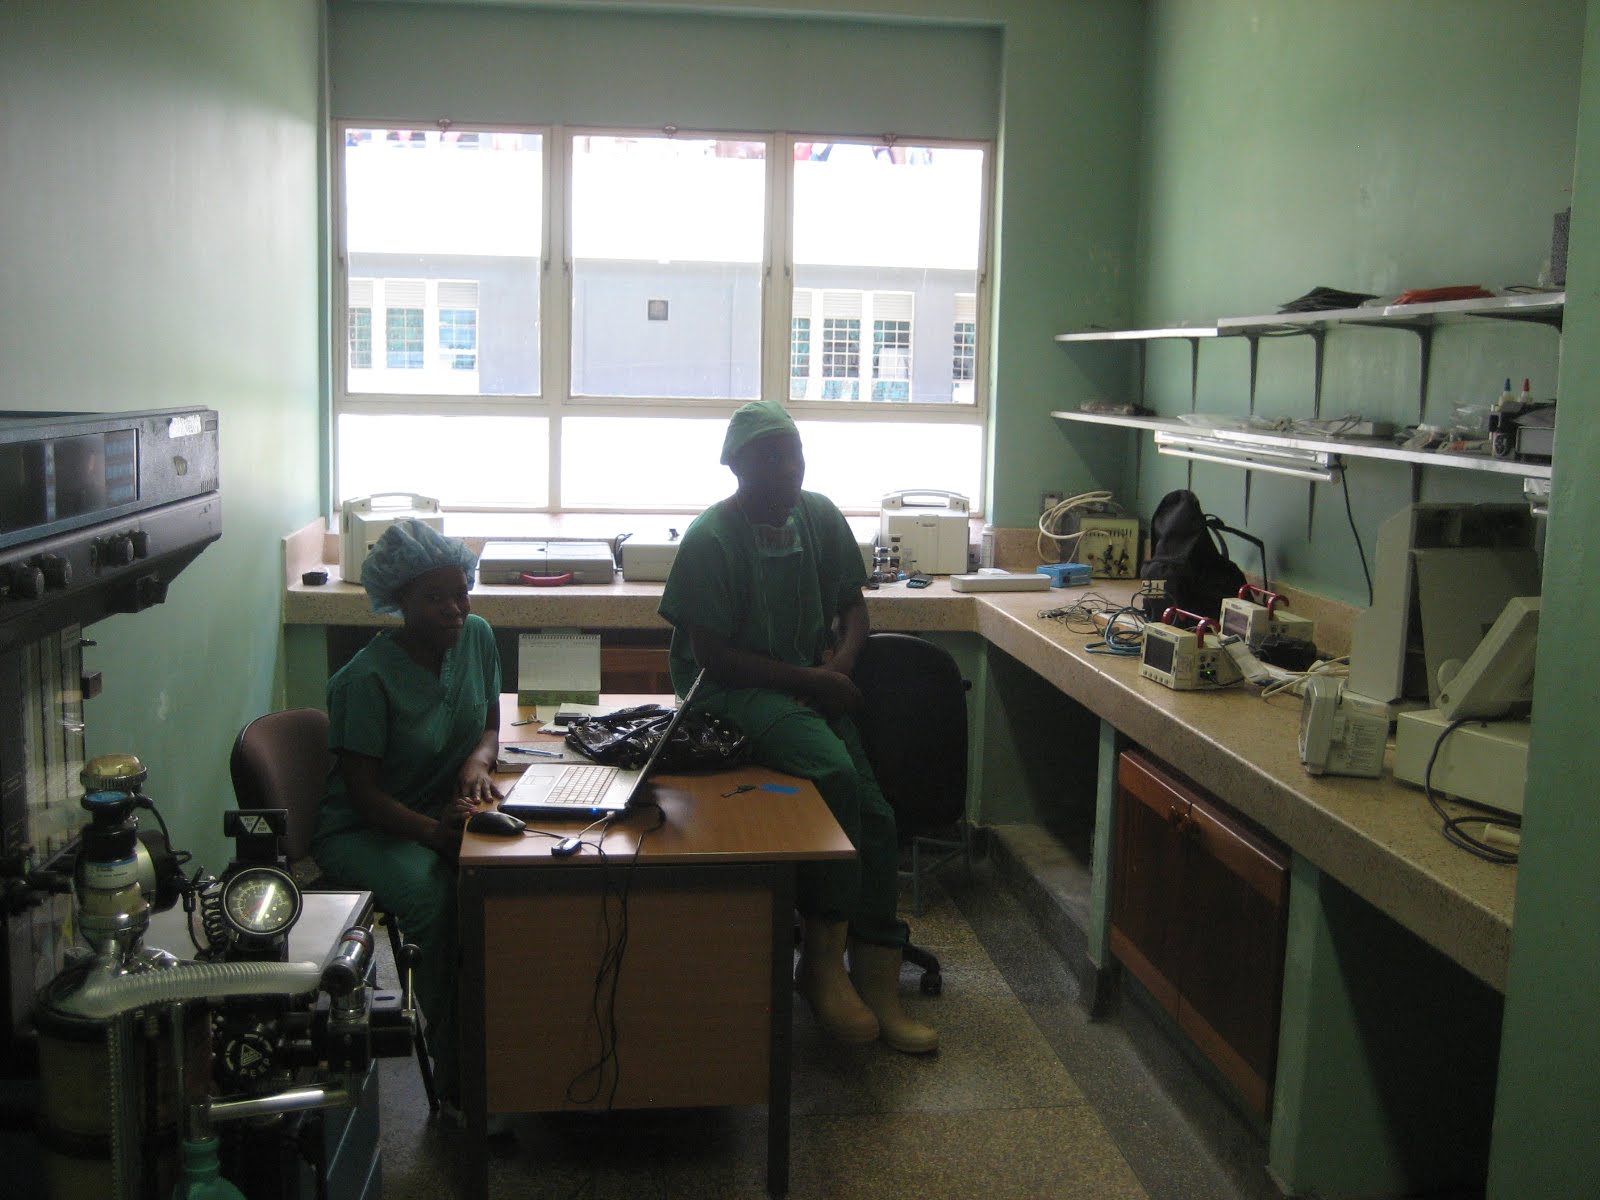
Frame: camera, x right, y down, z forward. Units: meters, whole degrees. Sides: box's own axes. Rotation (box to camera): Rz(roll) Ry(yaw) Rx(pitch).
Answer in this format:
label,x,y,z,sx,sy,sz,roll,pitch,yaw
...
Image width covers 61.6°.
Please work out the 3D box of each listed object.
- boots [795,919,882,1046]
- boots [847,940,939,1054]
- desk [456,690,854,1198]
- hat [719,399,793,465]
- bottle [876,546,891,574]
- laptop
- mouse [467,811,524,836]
label,x,y,z,sx,sy,sz,roll,pitch,yaw
boots,0.108,0.988,3.528,0.314,0.260,0.123,11,3,43
boots,0.265,1.086,3.660,0.331,0.281,0.129,0,-8,43
desk,-0.381,0.593,3.133,0.689,0.666,1.312,-1,9,-7
hat,-0.145,-0.477,3.778,0.191,0.107,0.147,-25,-2,29
bottle,0.323,-0.154,5.151,0.070,0.141,0.074,0,2,0
laptop,-0.444,0.314,3.124,0.475,0.305,0.516,7,4,8
mouse,-0.661,0.478,2.899,0.091,0.033,0.052,-1,9,0
